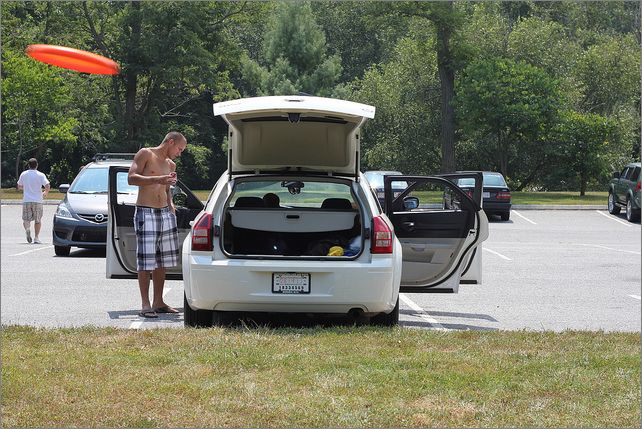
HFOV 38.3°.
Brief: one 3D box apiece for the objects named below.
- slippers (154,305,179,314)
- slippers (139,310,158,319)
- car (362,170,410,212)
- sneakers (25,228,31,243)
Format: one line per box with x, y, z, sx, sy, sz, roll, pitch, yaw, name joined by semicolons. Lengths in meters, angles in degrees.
-3.104;1.872;18.498;0.466;0.109;0.171;-1;2;1;slippers
-3.440;1.951;18.291;0.305;0.076;0.140;-2;3;4;slippers
2.486;-0.995;35.347;1.331;0.989;2.190;0;9;1;car
-8.099;0.581;25.475;0.163;0.437;0.194;-7;5;-11;sneakers
